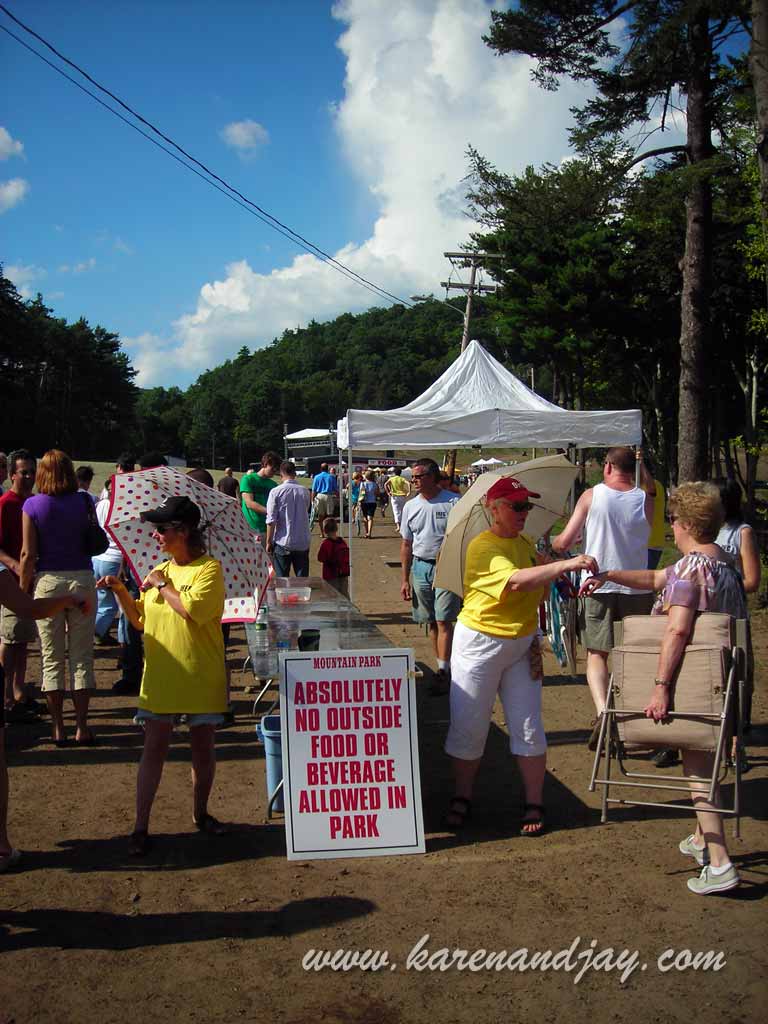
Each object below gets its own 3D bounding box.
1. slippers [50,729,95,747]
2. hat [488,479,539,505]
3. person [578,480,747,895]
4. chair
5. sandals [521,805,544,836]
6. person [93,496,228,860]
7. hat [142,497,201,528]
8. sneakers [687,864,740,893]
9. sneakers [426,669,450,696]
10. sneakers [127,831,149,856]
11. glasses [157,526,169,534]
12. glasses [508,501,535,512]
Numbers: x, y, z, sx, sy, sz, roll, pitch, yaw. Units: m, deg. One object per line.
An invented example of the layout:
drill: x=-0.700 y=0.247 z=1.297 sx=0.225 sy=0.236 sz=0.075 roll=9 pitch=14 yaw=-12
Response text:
slippers: x=-1.954 y=1.426 z=5.780 sx=0.133 sy=0.041 sz=0.172 roll=1 pitch=1 yaw=-5
hat: x=0.603 y=-0.097 z=4.275 sx=0.192 sy=0.096 sz=0.125 roll=-5 pitch=-3 yaw=25
person: x=1.355 y=0.691 z=4.001 sx=0.540 sy=1.645 sz=1.051 roll=1 pitch=2 yaw=-1
chair: x=1.182 y=0.886 z=3.834 sx=0.619 sy=0.844 sz=0.532 roll=-3 pitch=-4 yaw=30
sandals: x=0.714 y=1.459 z=4.368 sx=0.117 sy=0.135 sz=0.165 roll=2 pitch=3 yaw=10
person: x=-0.907 y=0.727 z=4.132 sx=0.389 sy=1.589 sz=0.376 roll=1 pitch=2 yaw=-12
hat: x=-0.927 y=-0.002 z=4.069 sx=0.218 sy=0.102 sz=0.130 roll=0 pitch=2 yaw=-12
sneakers: x=1.278 y=1.429 z=3.626 sx=0.094 sy=0.106 sz=0.231 roll=-38 pitch=1 yaw=-29
sneakers: x=0.445 y=1.353 z=7.292 sx=0.194 sy=0.196 sz=0.089 roll=3 pitch=-7 yaw=3
sneakers: x=-1.068 y=1.446 z=4.016 sx=0.065 sy=0.072 sz=0.111 roll=5 pitch=10 yaw=-5
glasses: x=-0.976 y=0.080 z=4.070 sx=0.038 sy=0.038 sz=0.016 roll=-3 pitch=-6 yaw=37
glasses: x=0.622 y=-0.034 z=4.256 sx=0.058 sy=0.021 sz=0.066 roll=-1 pitch=32 yaw=-30
